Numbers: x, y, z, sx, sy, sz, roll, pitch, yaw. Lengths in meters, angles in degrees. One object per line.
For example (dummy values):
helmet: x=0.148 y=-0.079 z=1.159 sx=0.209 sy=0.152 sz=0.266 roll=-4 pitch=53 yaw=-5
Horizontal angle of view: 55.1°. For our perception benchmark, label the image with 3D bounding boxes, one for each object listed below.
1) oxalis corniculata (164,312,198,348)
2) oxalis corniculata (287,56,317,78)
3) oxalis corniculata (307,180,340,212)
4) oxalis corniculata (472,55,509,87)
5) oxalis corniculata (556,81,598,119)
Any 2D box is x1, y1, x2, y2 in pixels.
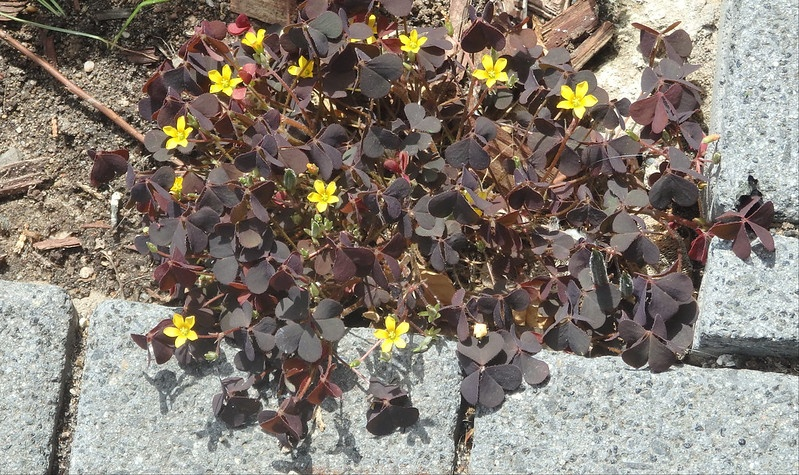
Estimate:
oxalis corniculata: x=-0.970 y=0.404 z=3.379 sx=0.161 sy=0.082 sz=0.142 roll=-27 pitch=85 yaw=-3
oxalis corniculata: x=-0.440 y=-0.781 z=3.538 sx=0.120 sy=0.044 sz=0.105 roll=-24 pitch=79 yaw=3
oxalis corniculata: x=-0.335 y=-0.187 z=3.352 sx=0.126 sy=0.092 sz=0.137 roll=-17 pitch=85 yaw=-2
oxalis corniculata: x=0.398 y=-0.735 z=3.389 sx=0.158 sy=0.129 sz=0.141 roll=-13 pitch=85 yaw=-2
oxalis corniculata: x=0.781 y=-0.610 z=3.334 sx=0.160 sy=0.137 sz=0.060 roll=10 pitch=54 yaw=-22
